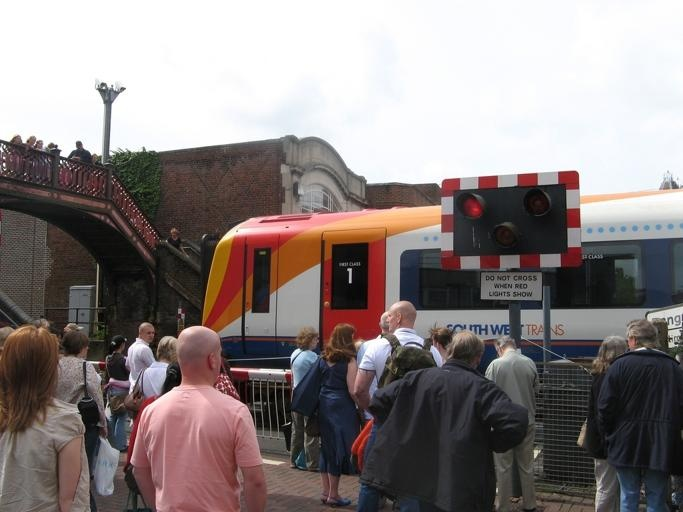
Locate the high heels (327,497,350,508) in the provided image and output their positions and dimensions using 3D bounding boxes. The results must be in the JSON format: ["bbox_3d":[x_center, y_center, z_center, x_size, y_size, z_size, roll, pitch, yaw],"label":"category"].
[{"bbox_3d":[-0.033,2.871,9.075,0.305,0.101,0.188,1,-10,-9],"label":"high heels"}]

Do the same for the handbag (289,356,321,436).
[{"bbox_3d":[-0.421,1.679,9.287,0.344,0.907,0.409,0,-9,-4],"label":"handbag"}]

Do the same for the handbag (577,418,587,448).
[{"bbox_3d":[2.574,1.907,8.361,0.093,0.270,0.359,-3,-10,17],"label":"handbag"}]

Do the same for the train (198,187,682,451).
[{"bbox_3d":[1.040,0.437,15.743,11.699,5.166,3.379,-3,-2,23],"label":"train"}]

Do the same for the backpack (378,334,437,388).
[{"bbox_3d":[0.660,1.006,7.823,0.445,0.526,0.557,8,-46,-2],"label":"backpack"}]

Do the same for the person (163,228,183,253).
[{"bbox_3d":[-5.667,-0.544,26.427,0.559,1.112,1.929,2,-10,-11],"label":"person"}]

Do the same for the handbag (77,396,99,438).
[{"bbox_3d":[-2.522,1.593,7.768,0.214,0.367,0.184,4,-9,-23],"label":"handbag"}]
